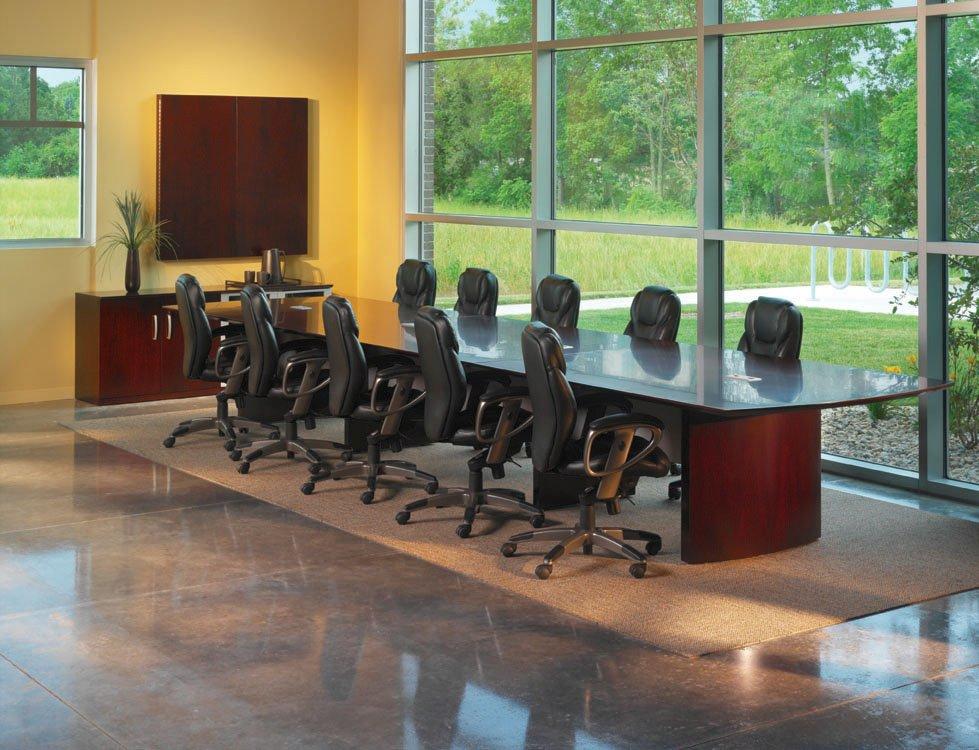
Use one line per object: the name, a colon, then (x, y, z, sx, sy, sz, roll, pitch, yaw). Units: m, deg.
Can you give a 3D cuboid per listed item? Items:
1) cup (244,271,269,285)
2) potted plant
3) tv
cup: (-2.439, -1.026, 8.661, 0.295, 0.179, 0.155, -4, 10, -25)
potted plant: (-3.497, -1.366, 8.389, 0.586, 1.036, 0.686, 6, 10, 39)
tv: (-2.832, -2.176, 8.895, 2.075, 1.894, 0.168, -3, 6, -37)
